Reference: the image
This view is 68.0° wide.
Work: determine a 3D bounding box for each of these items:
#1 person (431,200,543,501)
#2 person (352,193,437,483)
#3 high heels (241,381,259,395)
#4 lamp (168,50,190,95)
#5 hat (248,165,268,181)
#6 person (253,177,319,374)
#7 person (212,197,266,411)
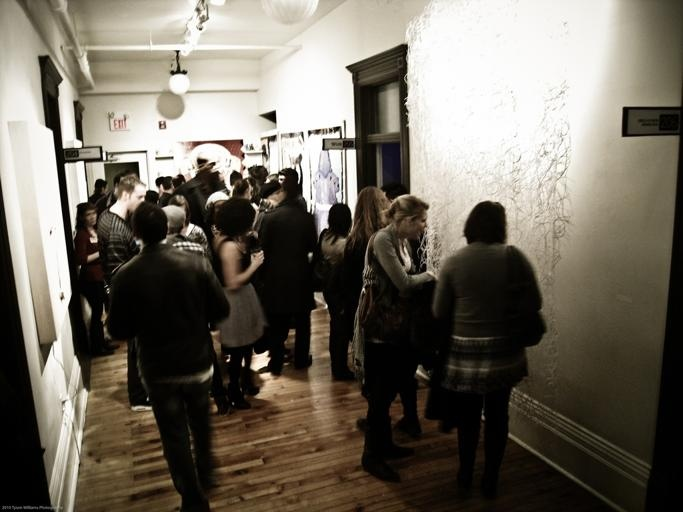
[{"bbox_3d":[0.859,0.613,2.997,0.599,1.870,0.310,-5,11,-14],"label":"person"},{"bbox_3d":[0.353,0.553,3.294,0.498,1.862,0.391,2,12,16],"label":"person"},{"bbox_3d":[-0.812,1.179,4.531,0.092,0.123,0.185,2,1,-8],"label":"high heels"},{"bbox_3d":[-3.105,-3.491,9.621,0.357,0.757,1.166,-5,14,-17],"label":"lamp"},{"bbox_3d":[-1.140,-1.167,7.040,0.341,0.185,0.466,0,16,-4],"label":"hat"},{"bbox_3d":[-0.510,0.143,4.773,0.528,1.961,0.538,-12,29,-27],"label":"person"},{"bbox_3d":[-0.813,0.396,4.026,0.461,2.059,0.598,-9,38,-18],"label":"person"}]
